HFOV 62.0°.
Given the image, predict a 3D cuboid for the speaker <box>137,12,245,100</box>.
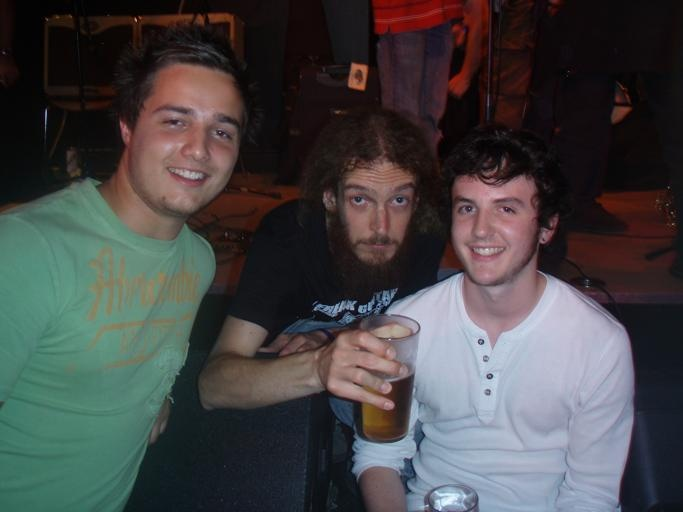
[{"bbox_3d":[-1.758,-2.453,6.491,1.238,0.867,0.704,-9,1,-14],"label":"speaker"}]
